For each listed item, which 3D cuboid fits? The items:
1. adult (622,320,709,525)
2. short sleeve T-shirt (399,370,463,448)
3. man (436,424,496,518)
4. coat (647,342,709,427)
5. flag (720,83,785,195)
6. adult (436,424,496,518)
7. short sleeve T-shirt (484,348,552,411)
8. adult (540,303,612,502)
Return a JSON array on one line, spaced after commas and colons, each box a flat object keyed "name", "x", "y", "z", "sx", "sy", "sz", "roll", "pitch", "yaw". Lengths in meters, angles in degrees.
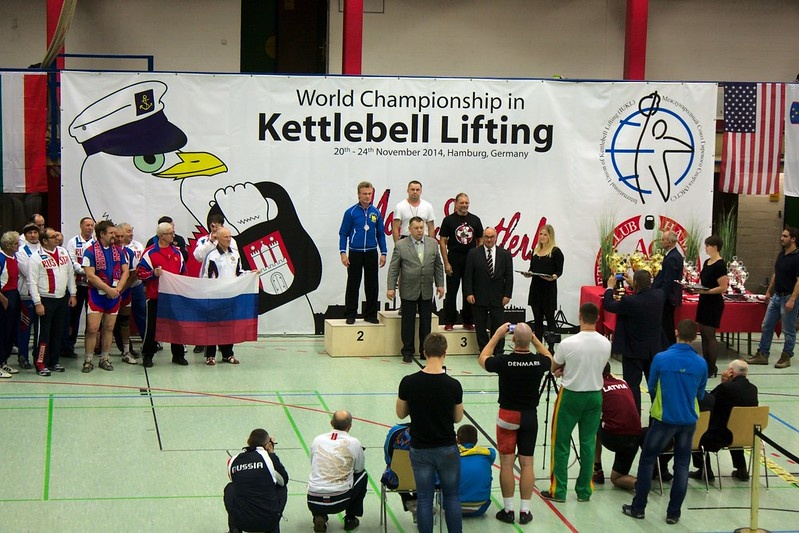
[{"name": "adult", "x": 3.558, "y": 1.978, "z": 11.164, "sx": 0.754, "sy": 2.723, "sz": 0.675, "roll": 6, "pitch": 9, "yaw": 7}, {"name": "short sleeve T-shirt", "x": 0.374, "y": 1.722, "z": 10.160, "sx": 0.832, "sy": 1.064, "sz": 0.541, "roll": 1, "pitch": 7, "yaw": 10}, {"name": "man", "x": 0.928, "y": 2.592, "z": 11.047, "sx": 0.823, "sy": 1.307, "sz": 0.907, "roll": 1, "pitch": 11, "yaw": -2}, {"name": "coat", "x": 3.591, "y": 1.514, "z": 10.926, "sx": 0.681, "sy": 0.912, "sz": 0.431, "roll": 3, "pitch": 14, "yaw": 8}, {"name": "flag", "x": 7.395, "y": -2.691, "z": 17.725, "sx": 1.272, "sy": 2.205, "sz": 0.680, "roll": 3, "pitch": 14, "yaw": 9}, {"name": "adult", "x": 0.937, "y": 2.620, "z": 10.947, "sx": 0.823, "sy": 1.307, "sz": 0.907, "roll": 1, "pitch": 11, "yaw": -2}, {"name": "short sleeve T-shirt", "x": 1.498, "y": 1.386, "z": 10.990, "sx": 0.951, "sy": 0.997, "sz": 0.621, "roll": 0, "pitch": 11, "yaw": 3}, {"name": "adult", "x": 2.382, "y": 1.791, "z": 11.317, "sx": 0.773, "sy": 2.710, "sz": 0.643, "roll": -1, "pitch": 12, "yaw": -15}]
